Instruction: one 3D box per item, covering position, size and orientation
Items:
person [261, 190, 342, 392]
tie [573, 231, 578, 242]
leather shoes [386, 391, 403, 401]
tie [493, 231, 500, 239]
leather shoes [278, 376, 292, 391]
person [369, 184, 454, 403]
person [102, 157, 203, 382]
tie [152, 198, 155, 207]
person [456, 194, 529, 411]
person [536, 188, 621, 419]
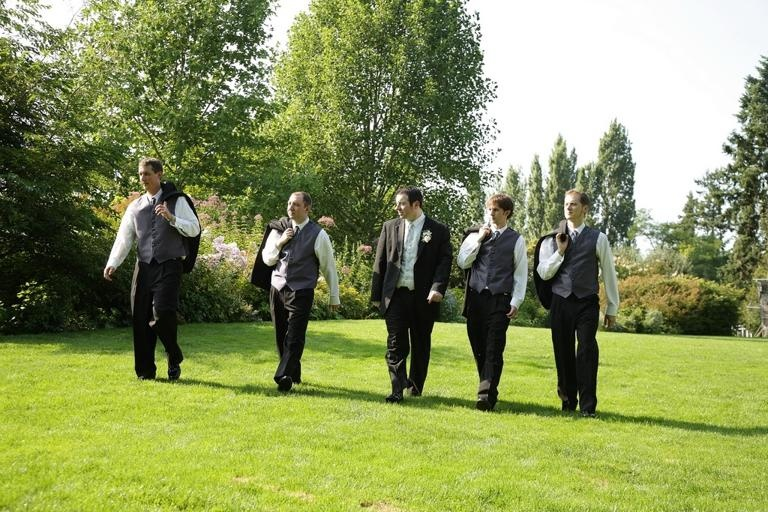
[{"bbox_3d":[-1.152,0.426,8.677,1.072,2.553,0.802,4,3,-1],"label":"person"},{"bbox_3d":[2.534,-0.271,8.656,0.052,0.173,0.038,7,-24,29],"label":"tie"},{"bbox_3d":[0.146,1.770,8.251,0.244,0.103,0.174,3,3,-12],"label":"leather shoes"},{"bbox_3d":[1.492,-0.274,8.684,0.072,0.100,0.036,2,-6,1],"label":"tie"},{"bbox_3d":[-1.264,1.629,8.392,0.161,0.197,0.171,17,27,-12],"label":"leather shoes"},{"bbox_3d":[0.362,0.478,8.666,1.017,2.773,0.866,3,3,-4],"label":"person"},{"bbox_3d":[-3.066,0.152,8.698,1.010,2.923,0.621,4,3,14],"label":"person"},{"bbox_3d":[-3.062,-0.719,8.700,0.071,0.081,0.019,-7,-9,17],"label":"tie"},{"bbox_3d":[1.358,0.543,8.538,0.790,2.699,0.755,6,4,31],"label":"person"},{"bbox_3d":[2.513,0.564,8.626,1.080,2.904,0.979,5,3,20],"label":"person"}]
